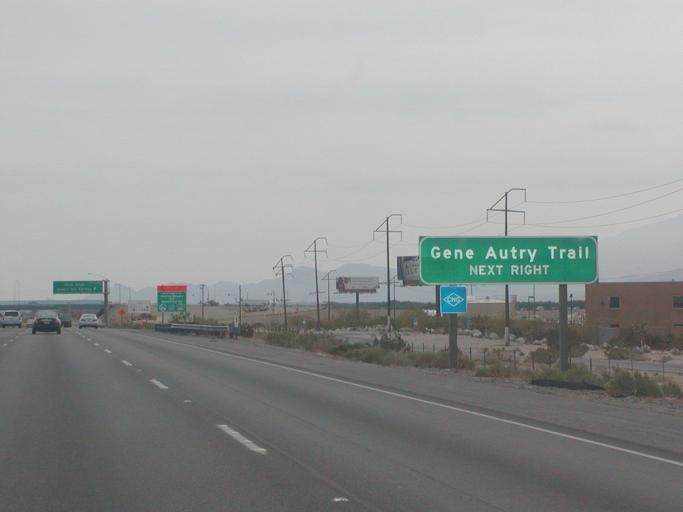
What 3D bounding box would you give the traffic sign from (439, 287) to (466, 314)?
[{"bbox_3d":[4.437,1.781,31.244,0.927,0.967,0.133,-2,4,-16],"label":"traffic sign"}]
